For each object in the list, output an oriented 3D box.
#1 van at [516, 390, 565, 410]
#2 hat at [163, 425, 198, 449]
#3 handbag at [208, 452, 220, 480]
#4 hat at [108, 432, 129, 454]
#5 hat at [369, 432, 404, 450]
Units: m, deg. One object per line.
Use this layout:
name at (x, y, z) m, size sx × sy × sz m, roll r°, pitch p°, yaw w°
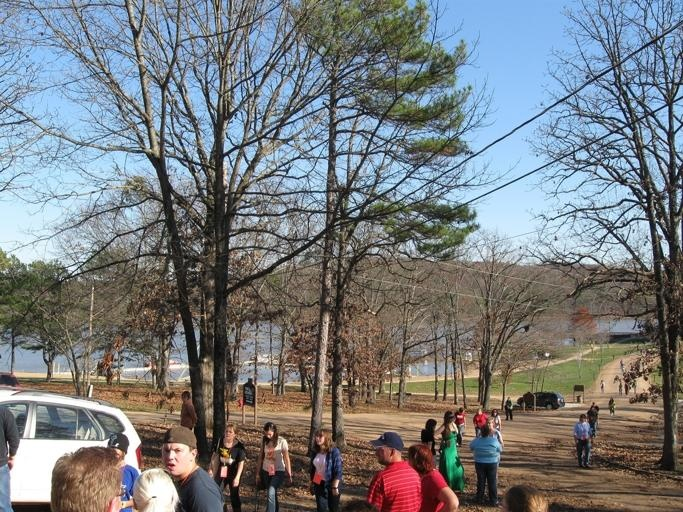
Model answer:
van at (15.112, 10.900, 53.491) m, size 3.044 × 1.269 × 1.483 m, roll 0°, pitch -5°, yaw 32°
hat at (-2.276, 2.536, 9.948) m, size 0.329 × 0.240 × 0.359 m, roll 3°, pitch -9°, yaw 11°
handbag at (-2.669, 4.393, 14.811) m, size 0.175 × 0.538 × 0.924 m, roll 2°, pitch -13°, yaw -10°
hat at (-3.757, 3.134, 11.913) m, size 0.295 × 0.402 × 0.422 m, roll 15°, pitch -1°, yaw -29°
hat at (0.770, 3.165, 12.069) m, size 0.469 × 0.278 × 0.334 m, roll 2°, pitch -11°, yaw 11°
